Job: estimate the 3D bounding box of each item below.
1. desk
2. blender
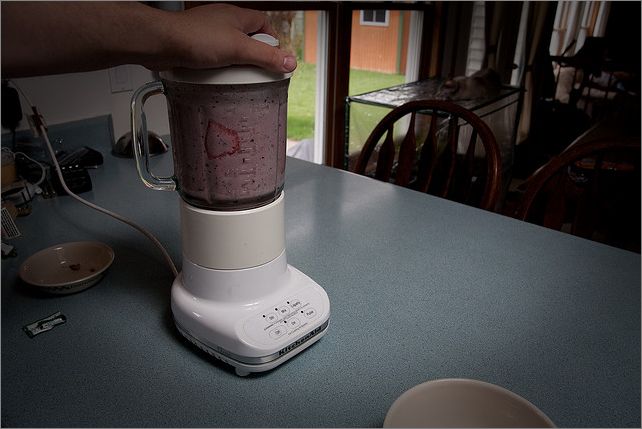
[{"bbox_3d":[0.606,-0.595,2.603,0.919,0.918,0.705,-16,30,-27],"label":"desk"},{"bbox_3d":[-0.170,-0.012,0.815,0.364,0.535,0.296,6,21,9],"label":"blender"}]
